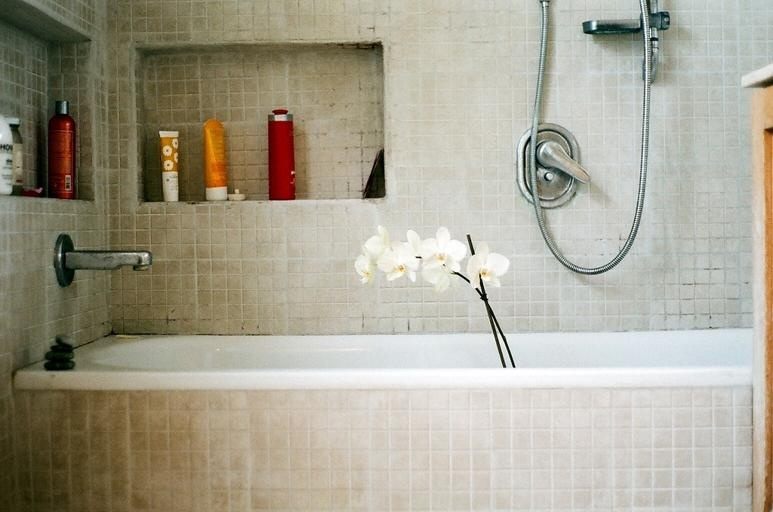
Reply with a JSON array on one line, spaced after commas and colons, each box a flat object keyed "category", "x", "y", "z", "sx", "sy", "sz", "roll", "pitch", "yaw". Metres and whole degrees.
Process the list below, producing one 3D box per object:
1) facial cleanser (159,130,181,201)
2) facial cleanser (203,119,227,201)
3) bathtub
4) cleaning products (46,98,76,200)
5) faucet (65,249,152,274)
[{"category": "facial cleanser", "x": -0.898, "y": -0.374, "z": 4.582, "sx": 0.082, "sy": 0.292, "sz": 0.111, "roll": 1, "pitch": 3, "yaw": -12}, {"category": "facial cleanser", "x": -0.705, "y": -0.397, "z": 4.580, "sx": 0.109, "sy": 0.334, "sz": 0.080, "roll": 2, "pitch": 3, "yaw": 0}, {"category": "bathtub", "x": 0.098, "y": 0.397, "z": 4.236, "sx": 2.707, "sy": 0.254, "sz": 0.598, "roll": 2, "pitch": 3, "yaw": 1}, {"category": "cleaning products", "x": -1.273, "y": -0.416, "z": 4.334, "sx": 0.130, "sy": 0.388, "sz": 0.131, "roll": -1, "pitch": 14, "yaw": -20}, {"category": "faucet", "x": -1.006, "y": 0.013, "z": 4.182, "sx": 0.488, "sy": 0.119, "sz": 0.120, "roll": -1, "pitch": 2, "yaw": 6}]
